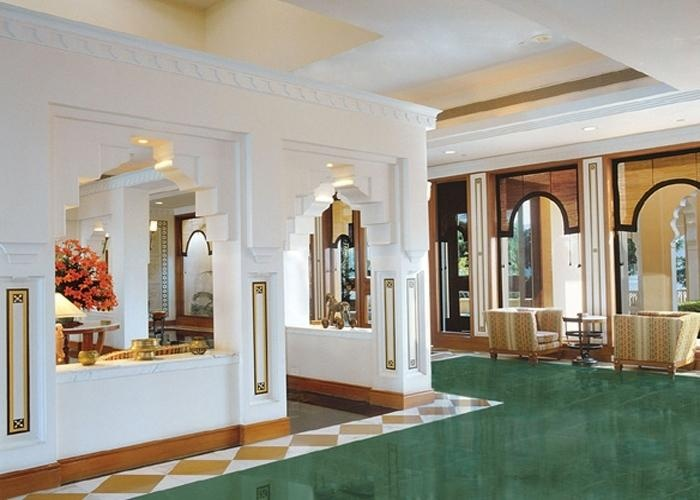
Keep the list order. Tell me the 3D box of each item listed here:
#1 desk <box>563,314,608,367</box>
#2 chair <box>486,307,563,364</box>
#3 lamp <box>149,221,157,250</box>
[{"bbox_3d":[4.371,1.696,10.414,0.666,0.638,0.630,7,-3,16],"label":"desk"},{"bbox_3d":[3.432,1.585,10.796,1.179,0.935,1.193,-5,-6,40],"label":"chair"},{"bbox_3d":[-5.409,-0.427,15.251,0.217,0.818,1.802,-1,0,-19],"label":"lamp"}]
